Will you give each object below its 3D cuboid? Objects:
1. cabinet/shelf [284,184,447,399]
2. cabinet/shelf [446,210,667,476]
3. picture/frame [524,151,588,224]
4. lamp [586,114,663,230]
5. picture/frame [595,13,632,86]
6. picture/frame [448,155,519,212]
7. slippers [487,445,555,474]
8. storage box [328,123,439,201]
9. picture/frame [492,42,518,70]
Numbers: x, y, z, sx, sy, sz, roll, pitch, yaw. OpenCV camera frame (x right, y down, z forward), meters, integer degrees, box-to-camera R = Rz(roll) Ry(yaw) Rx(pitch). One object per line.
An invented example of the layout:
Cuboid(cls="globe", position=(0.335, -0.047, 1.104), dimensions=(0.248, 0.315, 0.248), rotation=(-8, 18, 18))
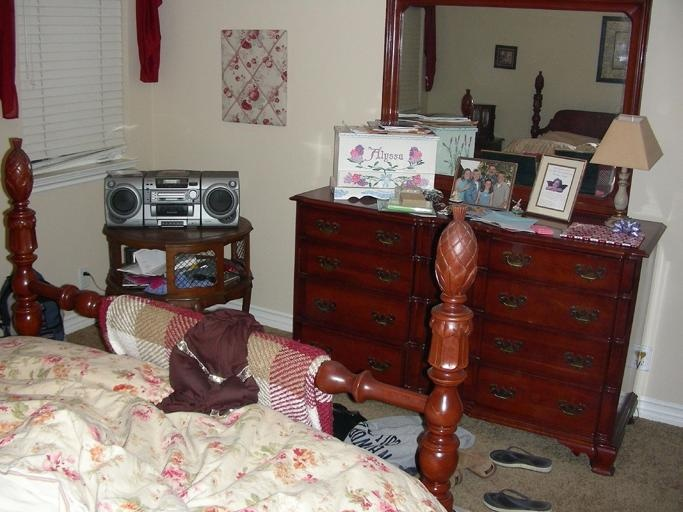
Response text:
Cuboid(cls="cabinet/shelf", position=(0.159, 0.167, 2.861), dimensions=(1.083, 1.203, 0.548), rotation=(7, 18, 19))
Cuboid(cls="cabinet/shelf", position=(1.157, 0.461, 3.093), dimensions=(1.016, 1.129, 0.768), rotation=(11, 9, 37))
Cuboid(cls="picture/frame", position=(1.190, -0.366, 2.946), dimensions=(0.323, 0.424, 0.037), rotation=(22, 7, 34))
Cuboid(cls="lamp", position=(1.481, -0.428, 2.822), dimensions=(0.366, 0.515, 0.343), rotation=(-8, 21, -20))
Cuboid(cls="picture/frame", position=(1.498, -1.117, 2.952), dimensions=(0.174, 0.297, 0.023), rotation=(3, 4, -6))
Cuboid(cls="picture/frame", position=(0.809, -0.400, 3.016), dimensions=(0.390, 0.308, 0.028), rotation=(15, 6, 22))
Cuboid(cls="slippers", position=(0.970, 1.049, 2.873), dimensions=(0.237, 0.057, 0.126), rotation=(8, 18, 32))
Cuboid(cls="storage box", position=(0.248, -0.549, 3.170), dimensions=(0.692, 0.481, 0.400), rotation=(4, 17, 4))
Cuboid(cls="picture/frame", position=(0.962, -1.168, 3.147), dimensions=(0.163, 0.161, 0.012), rotation=(4, 6, 18))
